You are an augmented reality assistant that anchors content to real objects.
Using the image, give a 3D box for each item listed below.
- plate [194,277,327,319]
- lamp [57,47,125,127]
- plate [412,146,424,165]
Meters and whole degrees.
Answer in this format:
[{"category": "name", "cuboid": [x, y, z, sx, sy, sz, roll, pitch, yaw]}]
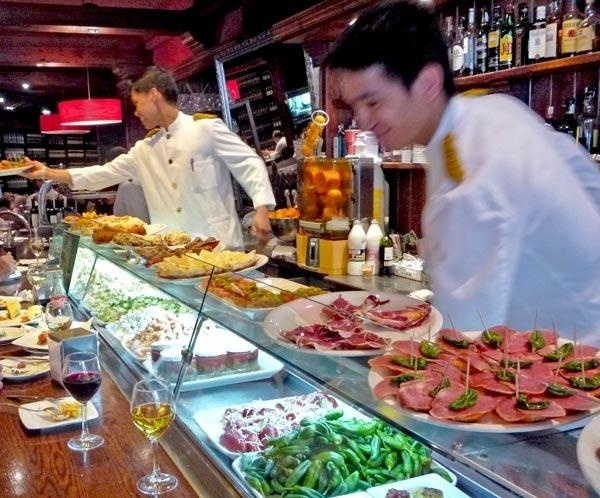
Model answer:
[{"category": "plate", "cuboid": [-0.134, 0.114, 1.192, 0.163, 0.030, 0.225, -8, 13, -40]}, {"category": "lamp", "cuboid": [-3.308, -2.458, 6.894, 1.006, 0.903, 0.898, 0, 15, 14]}, {"category": "plate", "cuboid": [0.817, -0.645, 3.040, 0.034, 0.106, 0.135, -15, 17, -40]}]
